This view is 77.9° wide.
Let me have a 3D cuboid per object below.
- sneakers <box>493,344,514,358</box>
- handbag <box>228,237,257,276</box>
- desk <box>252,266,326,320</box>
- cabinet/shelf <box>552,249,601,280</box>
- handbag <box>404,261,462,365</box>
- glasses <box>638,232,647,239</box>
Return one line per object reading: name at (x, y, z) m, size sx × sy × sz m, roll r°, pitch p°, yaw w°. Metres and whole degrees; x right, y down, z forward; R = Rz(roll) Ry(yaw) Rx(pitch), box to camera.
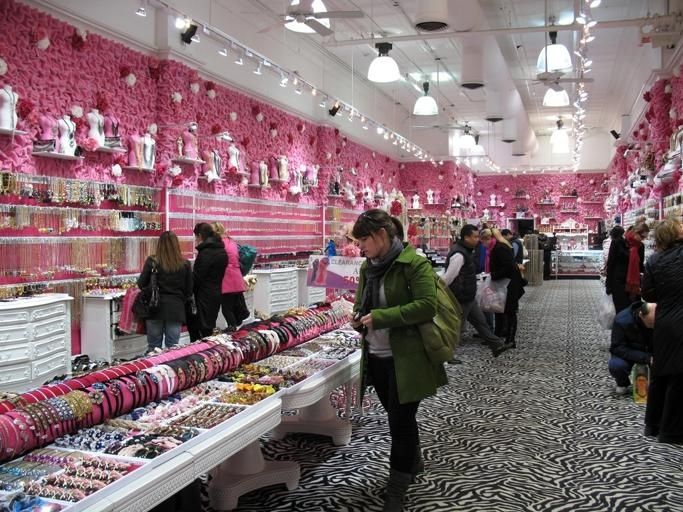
sneakers at (2.597, 1.473, 6.759) m, size 0.222 × 0.259 × 0.709 m, roll -3°, pitch -6°, yaw 23°
handbag at (-1.452, 0.012, 6.585) m, size 0.422 × 0.686 × 0.532 m, roll -1°, pitch 0°, yaw 8°
desk at (-1.022, 0.639, 7.583) m, size 0.431 × 0.737 × 1.279 m, roll -2°, pitch 2°, yaw 17°
cabinet/shelf at (11.505, 0.448, 20.901) m, size 2.044 × 1.281 × 1.489 m, roll 1°, pitch 1°, yaw 22°
handbag at (0.628, 0.346, 2.665) m, size 0.205 × 0.603 × 0.410 m, roll 1°, pitch 1°, yaw 21°
glasses at (4.809, -0.316, 6.765) m, size 0.080 × 0.095 × 0.105 m, roll -4°, pitch 8°, yaw 20°
